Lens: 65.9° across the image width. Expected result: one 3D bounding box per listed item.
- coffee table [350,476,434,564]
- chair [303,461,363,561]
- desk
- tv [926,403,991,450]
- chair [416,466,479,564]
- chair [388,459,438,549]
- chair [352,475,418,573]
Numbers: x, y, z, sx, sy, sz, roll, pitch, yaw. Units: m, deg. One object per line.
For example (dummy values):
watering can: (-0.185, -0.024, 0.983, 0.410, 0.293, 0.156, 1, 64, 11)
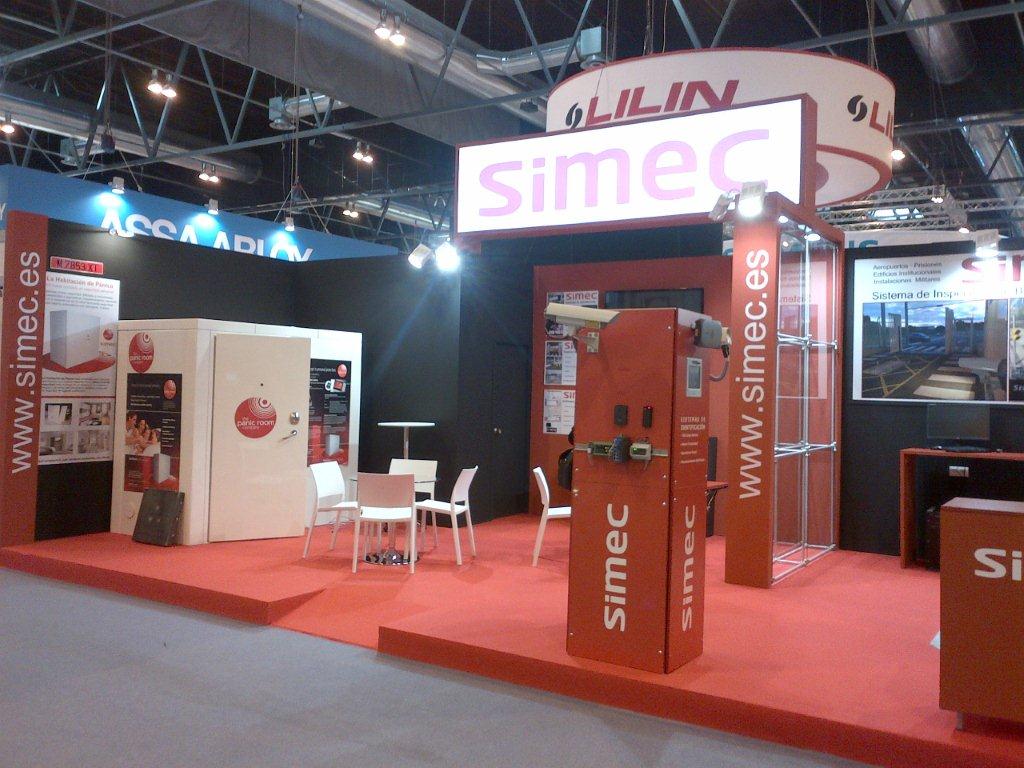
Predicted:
coffee table: (-1.196, 1.234, 7.662, 0.772, 1.316, 0.865, 0, 2, -7)
chair: (-1.760, 1.288, 8.044, 0.531, 0.873, 0.581, -2, -2, 34)
desk: (3.731, 0.976, 6.552, 1.029, 1.079, 0.323, 1, 6, 18)
tv: (4.465, 0.394, 7.866, 0.411, 0.345, 0.124, 2, 2, 30)
chair: (-0.697, 1.274, 8.011, 0.584, 0.903, 0.515, 2, -4, 14)
chair: (-1.115, 1.125, 8.766, 0.471, 0.768, 0.525, 2, 3, 15)
chair: (-1.121, 1.259, 7.029, 0.572, 0.978, 0.649, 3, -10, -13)
